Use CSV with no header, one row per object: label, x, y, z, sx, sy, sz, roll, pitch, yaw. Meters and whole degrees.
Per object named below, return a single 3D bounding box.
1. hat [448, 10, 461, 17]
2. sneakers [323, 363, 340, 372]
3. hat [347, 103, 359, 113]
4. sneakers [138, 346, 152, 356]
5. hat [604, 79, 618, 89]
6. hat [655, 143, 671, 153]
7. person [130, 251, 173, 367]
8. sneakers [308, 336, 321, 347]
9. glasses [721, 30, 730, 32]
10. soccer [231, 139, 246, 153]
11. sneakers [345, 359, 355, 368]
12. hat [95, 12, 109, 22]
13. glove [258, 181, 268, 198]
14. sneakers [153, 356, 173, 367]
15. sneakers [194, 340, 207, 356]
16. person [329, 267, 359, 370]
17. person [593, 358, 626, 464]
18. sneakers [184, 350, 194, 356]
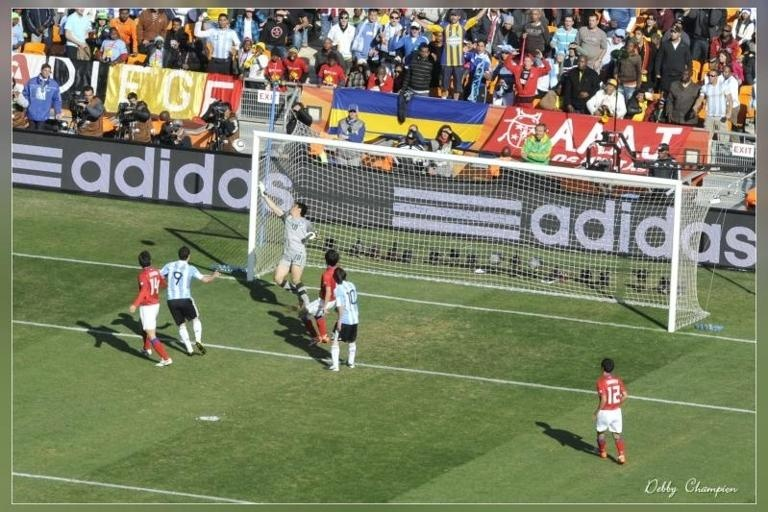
hat,1.921,-6.512,35.002,0.271,0.155,0.343,1,-13,23
sneakers,-1.029,2.183,25.797,0.290,0.111,0.112,10,16,19
hat,-0.788,-3.893,34.493,0.234,0.296,0.298,3,-26,1
sneakers,-4.716,1.881,25.910,0.104,0.115,0.271,2,18,-29
hat,5.901,-4.463,33.619,0.273,0.119,0.375,7,-7,12
hat,7.215,-2.760,33.276,0.259,0.220,0.247,1,3,0
person,-4.512,1.043,25.379,0.833,2.233,0.868,3,10,-6
sneakers,-1.379,1.736,26.591,0.121,0.137,0.344,2,3,-25
glasses,9.348,-6.100,35.407,0.127,0.061,0.090,-3,10,-28
soccer,-3.848,-2.889,34.365,0.441,0.439,0.165,1,10,-11
sneakers,-0.659,2.143,25.919,0.191,0.175,0.112,3,-7,-3
hat,-7.988,-6.769,37.000,0.317,0.127,0.417,-1,6,-5
glove,-2.676,-1.433,28.113,0.123,0.349,0.377,10,11,41
sneakers,-4.326,2.072,25.609,0.379,0.154,0.136,-1,8,23
sneakers,-3.657,1.778,26.092,0.136,0.365,0.173,-27,-25,-22
person,-0.749,1.229,25.712,0.523,2.062,1.341,3,10,-2
person,4.215,2.746,23.818,0.638,1.832,0.969,6,10,11
sneakers,-3.886,1.928,26.002,0.171,0.084,0.135,-4,0,42
